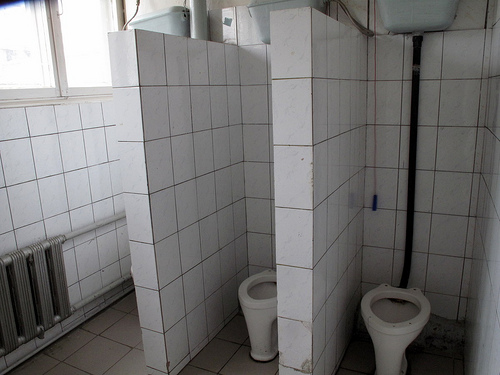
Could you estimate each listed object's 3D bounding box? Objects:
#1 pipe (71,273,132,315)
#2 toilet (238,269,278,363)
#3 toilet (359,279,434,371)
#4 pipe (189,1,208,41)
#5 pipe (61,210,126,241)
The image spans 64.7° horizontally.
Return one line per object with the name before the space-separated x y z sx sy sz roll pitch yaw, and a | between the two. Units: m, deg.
pipe | -1.336 0.952 3.591 0.582 0.081 0.075 -29 32 -33
toilet | 0.069 1.018 3.194 0.299 0.530 0.496 -1 21 2
toilet | 1.113 0.998 2.944 0.458 0.519 0.620 -2 10 26
pipe | -0.408 -1.321 3.124 0.140 0.285 0.164 -4 21 -7
pipe | -1.411 0.333 3.499 0.091 0.104 0.738 14 20 22
